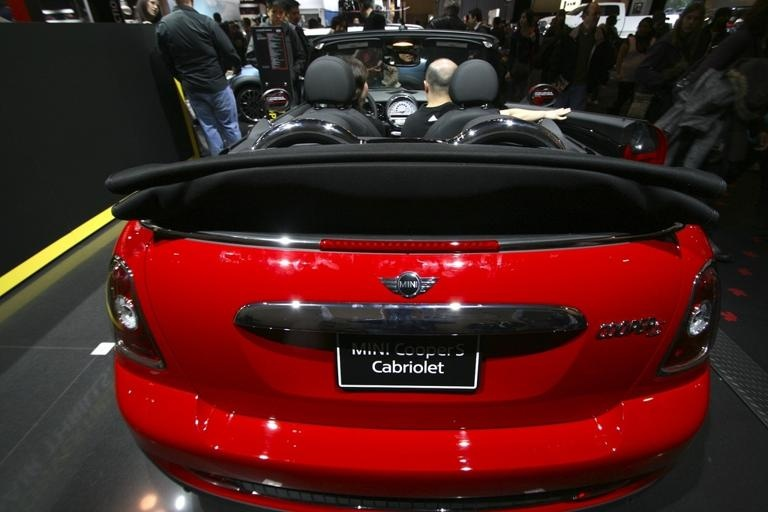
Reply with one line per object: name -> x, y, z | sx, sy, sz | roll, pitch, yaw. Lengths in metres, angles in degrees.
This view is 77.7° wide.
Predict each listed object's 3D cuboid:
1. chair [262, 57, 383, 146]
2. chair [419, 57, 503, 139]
chair -> -0.315, -1.087, 3.220 | 0.655, 0.315, 0.879 | 7, 38, -4
chair -> 0.548, -1.098, 3.386 | 0.450, 0.570, 0.561 | -6, 23, -13
